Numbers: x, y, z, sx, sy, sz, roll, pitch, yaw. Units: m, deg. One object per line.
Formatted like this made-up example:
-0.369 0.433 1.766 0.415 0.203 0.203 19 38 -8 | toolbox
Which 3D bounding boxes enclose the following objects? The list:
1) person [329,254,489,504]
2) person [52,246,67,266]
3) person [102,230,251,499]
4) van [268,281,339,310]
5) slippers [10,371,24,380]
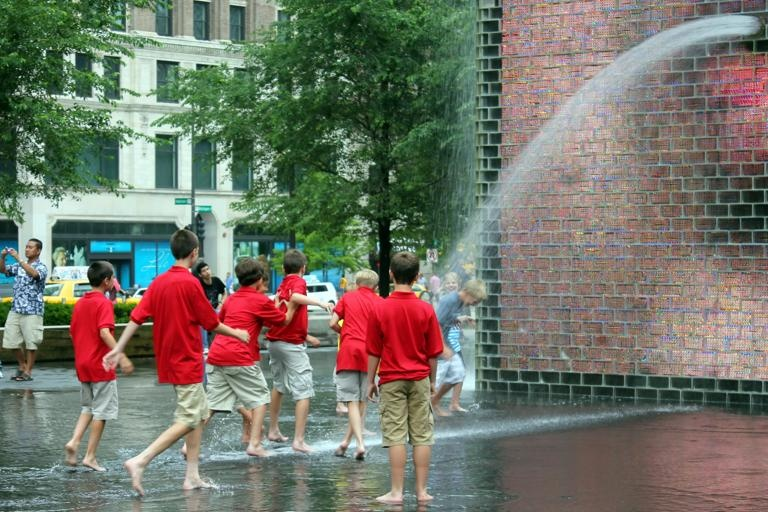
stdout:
0.284 1.605 18.363 1.005 3.337 0.308 -1 -2 0 | person
-13.921 -0.040 58.686 0.316 0.880 0.767 -4 -3 44 | person
-2.815 1.414 18.867 1.662 3.596 0.848 -1 -2 -1 | person
-3.500 1.341 58.414 3.399 1.559 1.830 5 -6 -17 | van
-7.195 2.317 26.724 0.128 0.134 0.356 5 0 -29 | slippers
